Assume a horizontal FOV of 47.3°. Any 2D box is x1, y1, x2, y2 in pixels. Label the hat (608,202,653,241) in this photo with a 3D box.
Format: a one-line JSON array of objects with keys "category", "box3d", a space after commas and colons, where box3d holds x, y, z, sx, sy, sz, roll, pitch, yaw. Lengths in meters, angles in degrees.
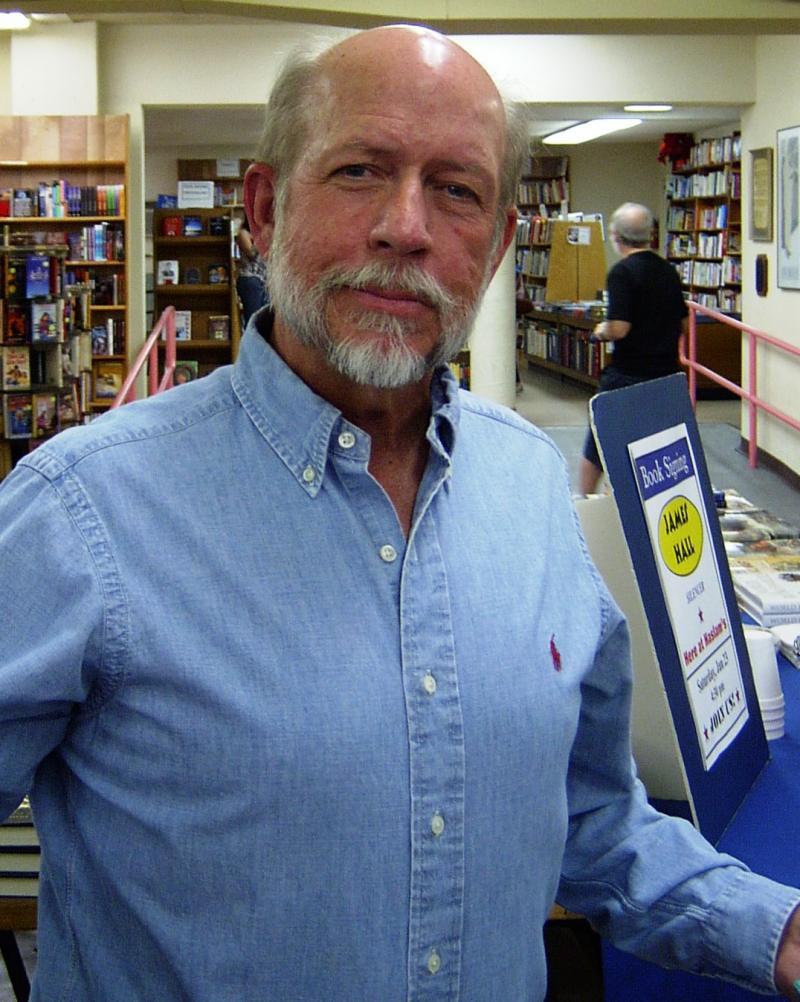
[{"category": "hat", "box3d": [1.358, -1.590, 5.317, 0.216, 0.264, 0.263, -9, 42, 9]}]
